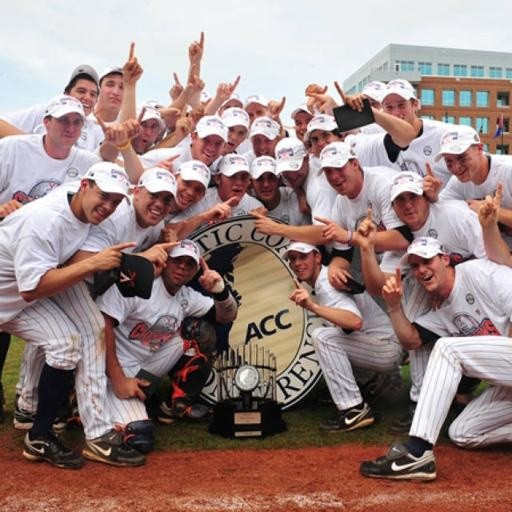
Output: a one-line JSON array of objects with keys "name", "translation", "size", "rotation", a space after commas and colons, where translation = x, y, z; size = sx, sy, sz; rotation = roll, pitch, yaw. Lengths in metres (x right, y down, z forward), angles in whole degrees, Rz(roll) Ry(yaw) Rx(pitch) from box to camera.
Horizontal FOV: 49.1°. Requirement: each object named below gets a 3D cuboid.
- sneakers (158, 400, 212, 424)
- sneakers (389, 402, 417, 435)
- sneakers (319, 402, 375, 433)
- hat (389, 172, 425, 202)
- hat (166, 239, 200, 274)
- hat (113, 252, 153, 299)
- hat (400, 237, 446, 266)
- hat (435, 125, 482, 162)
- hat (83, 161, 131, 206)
[{"name": "sneakers", "translation": [-0.814, 1.737, 6.330], "size": [0.662, 0.232, 0.203], "rotation": [-4, 29, -2]}, {"name": "sneakers", "translation": [1.540, 1.675, 5.880], "size": [0.240, 0.223, 0.410], "rotation": [0, 2, 17]}, {"name": "sneakers", "translation": [1.002, 1.704, 6.032], "size": [0.723, 0.239, 0.214], "rotation": [-4, -1, -20]}, {"name": "hat", "translation": [1.608, -0.744, 5.973], "size": [0.340, 0.306, 0.250], "rotation": [0, 2, 11]}, {"name": "hat", "translation": [-0.779, -0.020, 5.928], "size": [0.274, 0.312, 0.418], "rotation": [0, 2, 29]}, {"name": "hat", "translation": [-1.109, 0.177, 5.129], "size": [0.338, 0.406, 0.144], "rotation": [-1, 3, -9]}, {"name": "hat", "translation": [1.640, -0.056, 5.556], "size": [0.414, 0.266, 0.326], "rotation": [0, 2, 26]}, {"name": "hat", "translation": [2.184, -1.245, 6.018], "size": [0.381, 0.341, 0.273], "rotation": [0, 2, 22]}, {"name": "hat", "translation": [-1.309, -0.697, 5.054], "size": [0.294, 0.327, 0.349], "rotation": [1, 3, 42]}]
